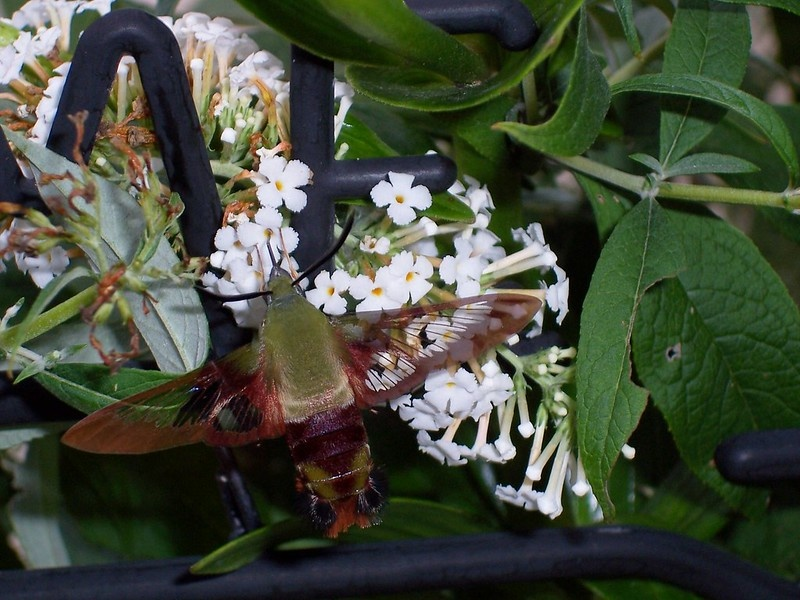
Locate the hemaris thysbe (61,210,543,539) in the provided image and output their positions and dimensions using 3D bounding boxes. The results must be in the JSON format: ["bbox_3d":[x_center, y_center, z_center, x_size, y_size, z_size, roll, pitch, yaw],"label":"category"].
[{"bbox_3d":[-0.116,0.111,1.174,0.643,0.443,0.143,0,-6,-8],"label":"hemaris thysbe"}]

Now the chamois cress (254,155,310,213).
[{"bbox_3d":[-0.155,-0.159,1.126,0.073,0.074,0.039,0,-6,-6],"label":"chamois cress"}]

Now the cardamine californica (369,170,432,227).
[{"bbox_3d":[0.007,-0.139,1.159,0.094,0.070,0.046,5,-9,-44],"label":"cardamine californica"}]
